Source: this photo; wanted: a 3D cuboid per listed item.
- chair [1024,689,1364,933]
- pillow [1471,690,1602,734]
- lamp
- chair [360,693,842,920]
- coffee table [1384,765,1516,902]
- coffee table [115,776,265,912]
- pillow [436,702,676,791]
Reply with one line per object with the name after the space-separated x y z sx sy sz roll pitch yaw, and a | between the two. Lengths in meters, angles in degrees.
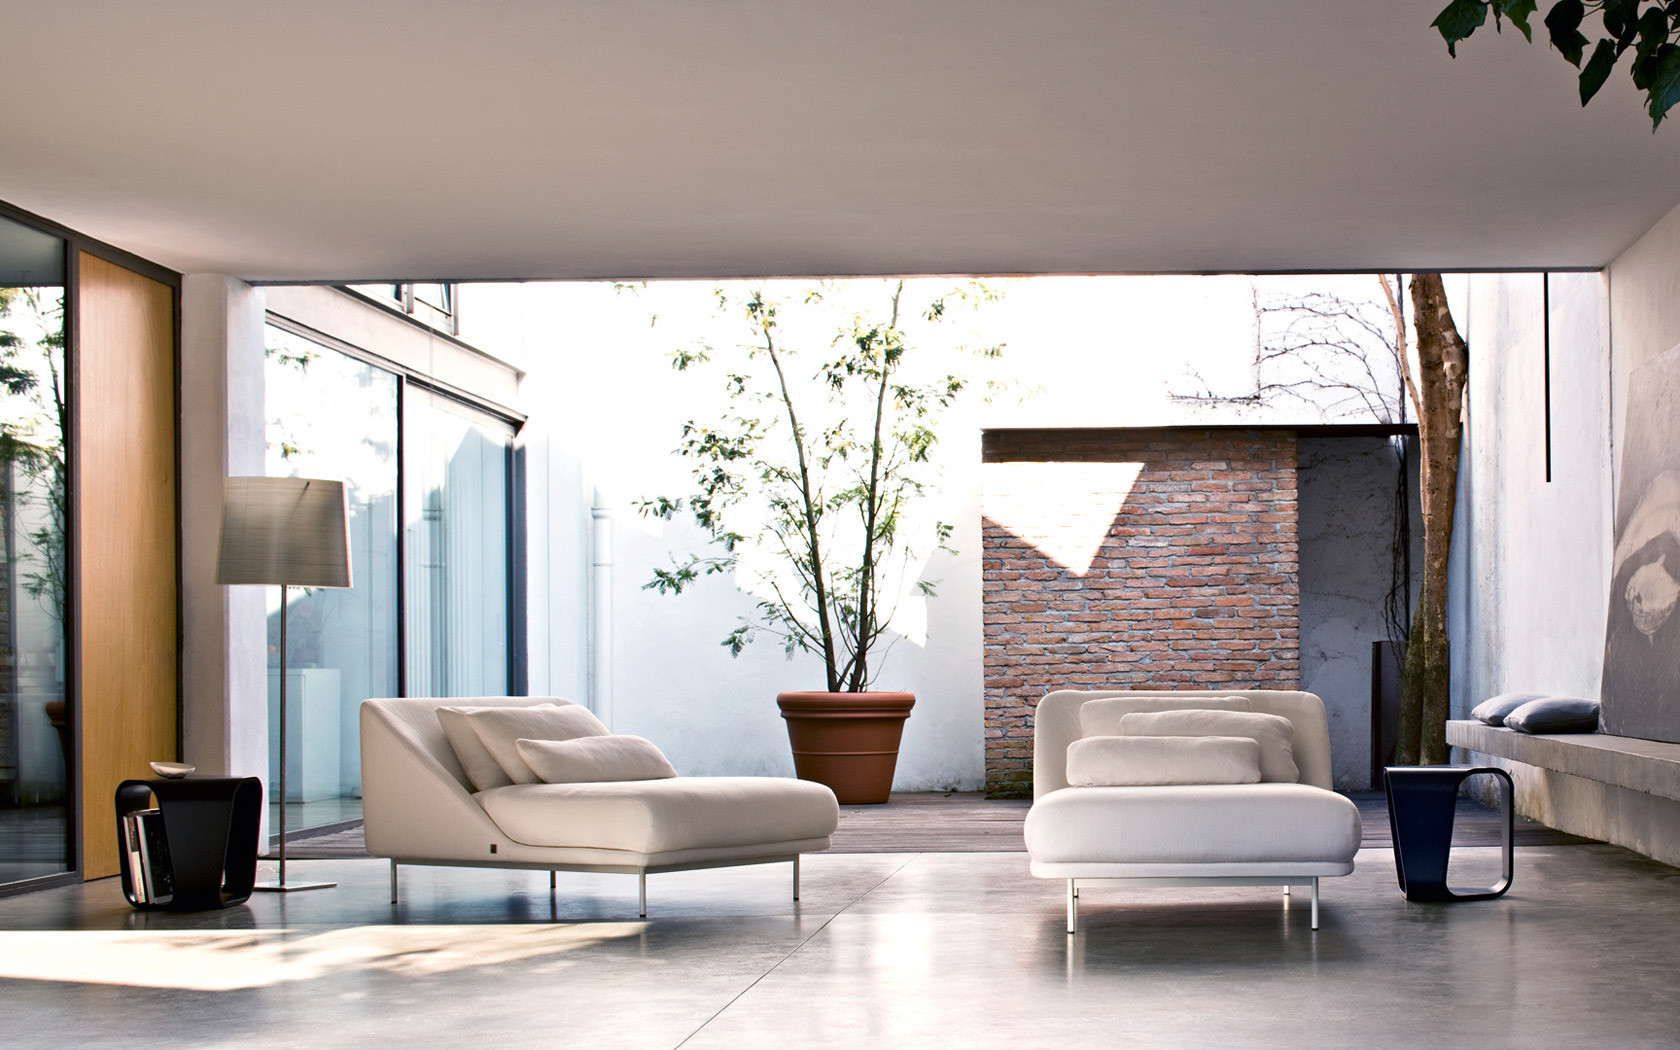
1.507 1.205 6.056 1.311 0.919 1.215 -2 -4 9 | chair
3.921 1.057 7.715 0.431 0.187 0.883 -2 -5 9 | pillow
-2.758 0.766 6.842 0.612 1.980 1.201 2 -5 -35 | lamp
-1.077 1.272 6.574 1.912 0.838 1.735 -2 -8 17 | chair
2.782 1.370 6.199 0.688 0.584 0.363 2 -5 -32 | coffee table
-2.881 1.430 6.276 0.691 0.596 0.532 0 -2 -1 | coffee table
-1.343 1.015 6.303 0.485 0.274 0.674 -10 -13 37 | pillow
